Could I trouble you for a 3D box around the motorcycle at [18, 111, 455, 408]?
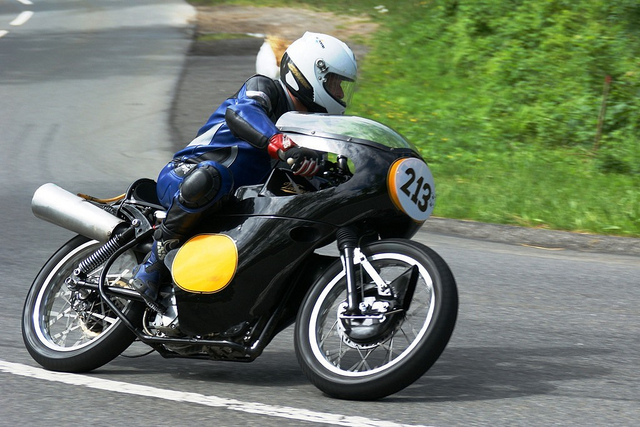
[{"bbox_3d":[-0.636,0.349,4.628,3.915,1.040,1.614,-1,67,32],"label":"motorcycle"}]
